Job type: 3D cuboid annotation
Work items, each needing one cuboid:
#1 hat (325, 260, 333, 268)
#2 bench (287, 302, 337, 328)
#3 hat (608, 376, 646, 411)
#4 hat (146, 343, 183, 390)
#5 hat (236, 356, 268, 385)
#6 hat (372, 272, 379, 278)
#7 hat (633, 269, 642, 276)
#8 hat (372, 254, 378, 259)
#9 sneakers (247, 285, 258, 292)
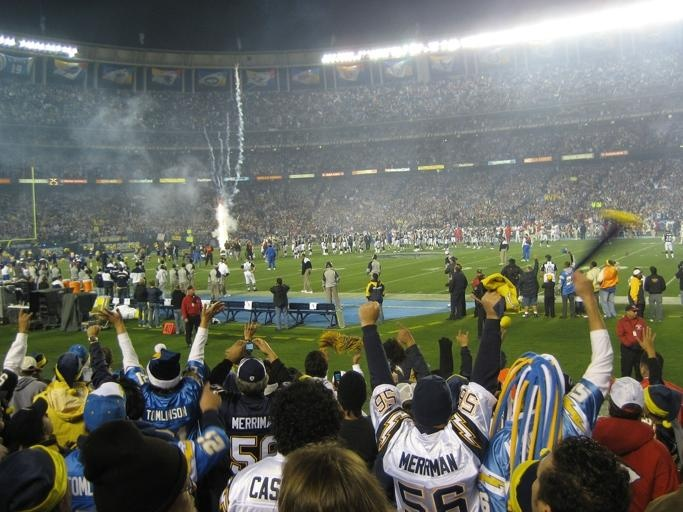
[{"bbox_3d":[-0.412,0.196,20.514,0.254,0.142,0.374,2,-9,-2],"label":"hat"},{"bbox_3d":[-0.938,1.675,19.552,1.427,0.675,2.174,-2,1,-12],"label":"bench"},{"bbox_3d":[2.525,1.198,5.704,0.342,0.221,0.258,-3,2,-41],"label":"hat"},{"bbox_3d":[-1.786,1.107,6.434,0.265,0.368,0.415,5,4,-25],"label":"hat"},{"bbox_3d":[-0.869,1.082,6.177,0.262,0.162,0.208,-2,1,-16],"label":"hat"},{"bbox_3d":[0.949,0.539,18.455,0.110,0.149,0.201,-20,9,-16],"label":"hat"},{"bbox_3d":[7.914,0.420,17.314,0.160,0.220,0.193,28,-18,-26],"label":"hat"},{"bbox_3d":[1.334,-0.018,26.568,0.187,0.256,0.242,0,-16,-1],"label":"hat"},{"bbox_3d":[-4.004,1.411,28.861,0.276,0.356,0.276,-17,7,-21],"label":"sneakers"}]
